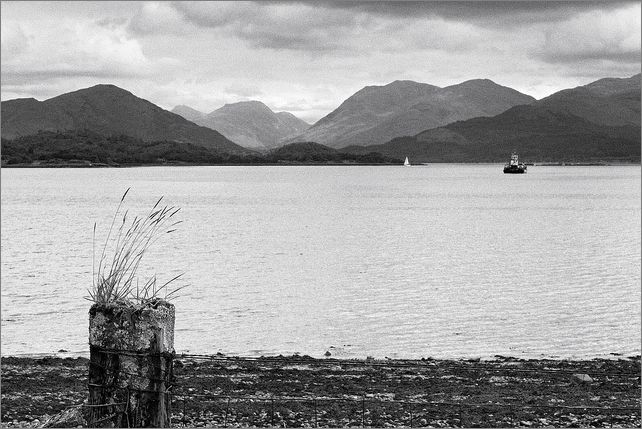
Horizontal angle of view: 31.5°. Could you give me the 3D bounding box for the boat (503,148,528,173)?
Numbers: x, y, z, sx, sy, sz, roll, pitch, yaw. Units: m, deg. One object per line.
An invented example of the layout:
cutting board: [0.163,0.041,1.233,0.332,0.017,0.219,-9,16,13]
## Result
boat: [64.378,-16.942,385.500,7.545,7.139,20.942,0,3,15]
